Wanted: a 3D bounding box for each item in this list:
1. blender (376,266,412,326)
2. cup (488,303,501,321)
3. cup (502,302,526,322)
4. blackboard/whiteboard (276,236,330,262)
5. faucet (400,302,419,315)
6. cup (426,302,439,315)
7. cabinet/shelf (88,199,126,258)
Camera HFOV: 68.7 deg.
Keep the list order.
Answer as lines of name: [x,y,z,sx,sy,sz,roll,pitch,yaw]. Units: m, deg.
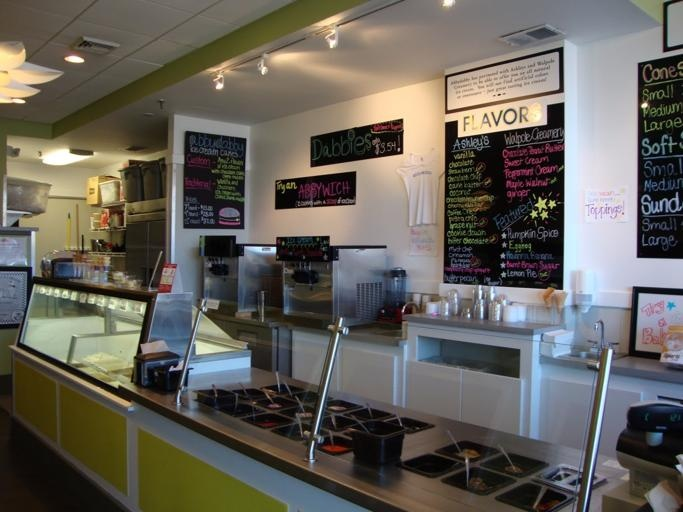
blender: [0.463,0.350,4.495,0.261,0.489,0.389,1,0,7]
cup: [1.127,0.406,3.674,0.086,0.142,0.120,1,0,14]
cup: [1.279,0.418,3.654,0.245,0.138,0.097,1,0,-32]
blackboard/whiteboard: [-0.349,-0.060,4.533,0.145,0.215,0.675,1,0,-40]
faucet: [0.608,0.455,4.413,0.107,0.105,0.240,1,0,25]
cup: [0.729,0.419,3.971,0.103,0.100,0.094,1,0,0]
cabinet/shelf: [-3.961,-0.442,8.457,0.867,0.792,0.287,2,5,38]
